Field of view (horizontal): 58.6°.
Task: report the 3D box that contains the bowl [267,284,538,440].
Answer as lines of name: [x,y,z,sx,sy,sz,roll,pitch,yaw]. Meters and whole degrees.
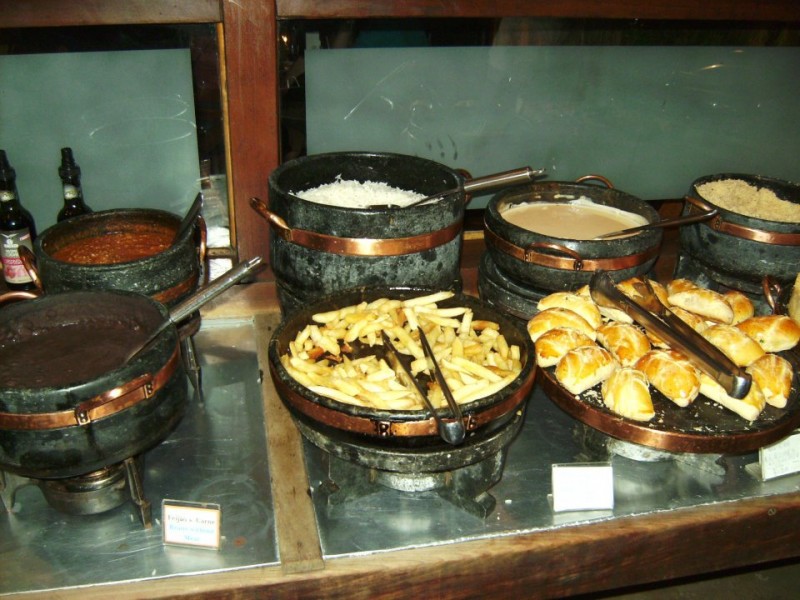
bowl: [0.012,0.127,1.229,0.441,0.074,0.394,4,22,5]

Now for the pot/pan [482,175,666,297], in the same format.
pot/pan: [0.376,-0.153,1.643,0.382,0.147,0.356,13,37,13]
